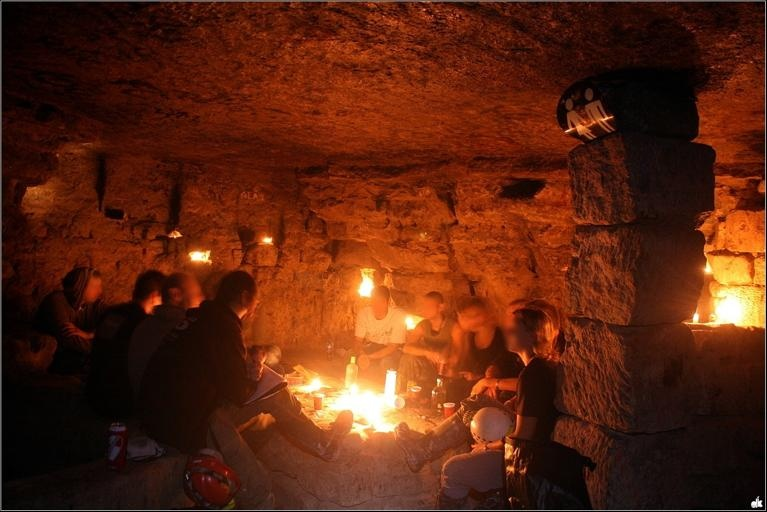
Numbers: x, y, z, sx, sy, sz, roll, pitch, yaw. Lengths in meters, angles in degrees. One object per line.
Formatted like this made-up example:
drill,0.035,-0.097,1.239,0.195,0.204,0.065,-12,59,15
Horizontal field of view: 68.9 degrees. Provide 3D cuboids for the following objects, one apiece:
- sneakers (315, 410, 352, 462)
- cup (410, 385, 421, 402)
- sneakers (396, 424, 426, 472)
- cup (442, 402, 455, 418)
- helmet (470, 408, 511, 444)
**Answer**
sneakers,-0.483,1.845,5.710,0.262,0.545,0.197,-8,-47,39
cup,0.380,1.642,6.635,0.160,0.129,0.151,2,1,0
sneakers,0.272,1.919,5.554,0.201,0.224,0.533,23,22,-27
cup,0.726,1.693,6.163,0.183,0.125,0.135,5,-5,-17
helmet,0.954,1.479,4.944,0.413,0.246,0.323,-13,-13,11
